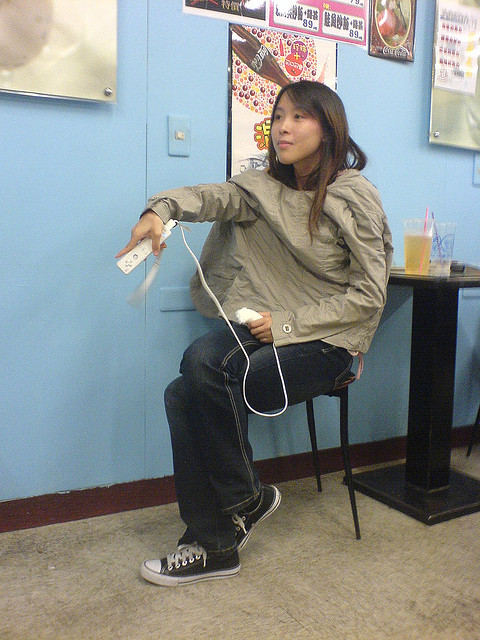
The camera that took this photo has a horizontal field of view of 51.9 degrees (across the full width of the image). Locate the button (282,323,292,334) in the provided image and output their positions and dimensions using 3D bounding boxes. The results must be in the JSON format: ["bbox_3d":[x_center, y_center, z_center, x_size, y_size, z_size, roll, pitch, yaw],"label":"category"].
[{"bbox_3d":[0.118,0.022,1.216,0.026,0.024,0.012,0,1,-28],"label":"button"}]

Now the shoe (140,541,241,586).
[{"bbox_3d":[-0.120,0.568,1.201,0.224,0.116,0.094,4,-6,-11],"label":"shoe"}]

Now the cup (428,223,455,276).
[{"bbox_3d":[0.698,-0.260,1.700,0.090,0.171,0.100,-4,21,1],"label":"cup"}]

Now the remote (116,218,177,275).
[{"bbox_3d":[-0.210,-0.174,1.129,0.146,0.141,0.082,0,1,-29],"label":"remote"}]

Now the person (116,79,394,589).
[{"bbox_3d":[0.017,0.003,1.334,0.668,1.358,0.530,9,-2,-28],"label":"person"}]

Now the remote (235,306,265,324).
[{"bbox_3d":[0.033,-0.010,1.259,0.041,0.019,0.044,-18,51,-28],"label":"remote"}]

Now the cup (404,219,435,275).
[{"bbox_3d":[0.612,-0.244,1.681,0.096,0.187,0.082,1,1,20],"label":"cup"}]

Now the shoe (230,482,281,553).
[{"bbox_3d":[0.037,0.503,1.239,0.077,0.208,0.069,32,0,-40],"label":"shoe"}]
